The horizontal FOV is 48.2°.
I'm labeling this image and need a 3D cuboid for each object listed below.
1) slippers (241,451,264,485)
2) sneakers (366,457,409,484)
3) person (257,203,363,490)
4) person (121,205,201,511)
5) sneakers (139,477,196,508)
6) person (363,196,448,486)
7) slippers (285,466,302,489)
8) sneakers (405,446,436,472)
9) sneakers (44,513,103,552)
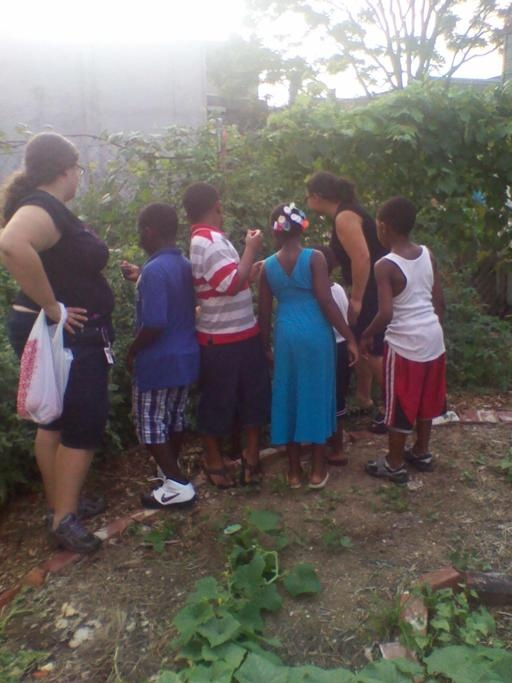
[{"bbox_3d":[-0.031,0.724,3.290,0.077,0.055,0.204,-1,24,-3],"label":"slippers"},{"bbox_3d":[0.738,0.711,3.262,0.224,0.108,0.106,13,20,35],"label":"sneakers"},{"bbox_3d":[0.241,0.032,3.147,0.504,1.545,0.421,-11,14,-31],"label":"person"},{"bbox_3d":[-0.508,0.075,3.072,0.372,1.583,0.417,-2,12,11],"label":"person"},{"bbox_3d":[-0.454,0.783,3.101,0.338,0.184,0.124,-4,36,16],"label":"sneakers"},{"bbox_3d":[0.820,-0.008,3.195,0.438,1.549,0.419,-1,12,16],"label":"person"},{"bbox_3d":[0.207,0.748,3.152,0.063,0.033,0.109,-1,46,4],"label":"slippers"},{"bbox_3d":[0.953,0.691,3.377,0.078,0.089,0.198,-6,15,-26],"label":"sneakers"},{"bbox_3d":[-0.851,0.903,2.783,0.274,0.180,0.138,6,25,16],"label":"sneakers"}]
